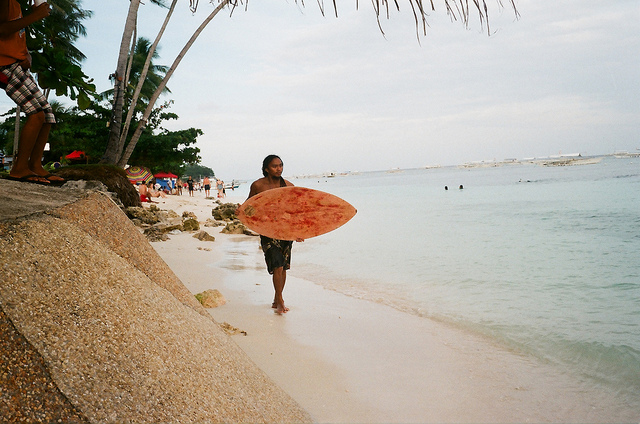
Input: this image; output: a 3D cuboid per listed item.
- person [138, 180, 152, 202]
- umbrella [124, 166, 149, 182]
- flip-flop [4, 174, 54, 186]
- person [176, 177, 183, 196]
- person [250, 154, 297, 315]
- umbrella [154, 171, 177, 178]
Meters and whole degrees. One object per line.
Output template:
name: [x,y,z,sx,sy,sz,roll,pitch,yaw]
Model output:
person: [-8.397,-0.930,19.982,0.485,0.877,1.718,4,6,-20]
umbrella: [-9.816,-2.064,22.395,1.123,0.636,1.960,3,6,-22]
flip-flop: [-2.712,-0.297,3.906,0.447,0.099,0.156,5,6,-32]
person: [-11.734,-2.133,34.697,0.396,1.218,2.043,5,6,-14]
person: [-0.730,0.312,6.098,0.682,2.259,1.410,6,7,-5]
umbrella: [-12.892,-3.145,34.762,1.614,0.550,1.709,3,6,-20]
